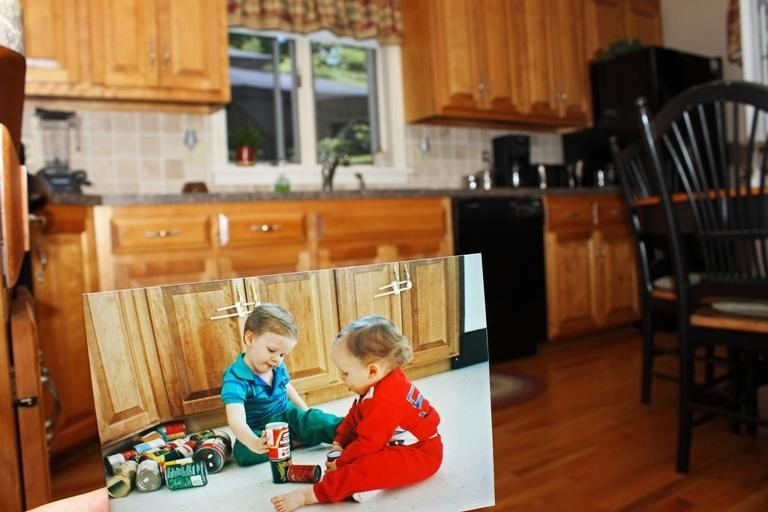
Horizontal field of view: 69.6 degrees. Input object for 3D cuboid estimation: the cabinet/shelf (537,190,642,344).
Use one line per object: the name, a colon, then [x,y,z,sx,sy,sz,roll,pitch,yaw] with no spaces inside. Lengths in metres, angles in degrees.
cabinet/shelf: [0.888,0.043,2.547,0.549,0.602,0.297,-4,2,-24]

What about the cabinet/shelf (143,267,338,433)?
cabinet/shelf: [-0.329,0.214,1.420,0.471,0.384,0.167,-8,0,-3]

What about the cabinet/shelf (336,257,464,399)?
cabinet/shelf: [0.019,0.167,1.515,0.381,0.317,0.141,-6,7,-34]

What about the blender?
blender: [-1.293,-0.401,2.132,0.178,0.299,0.178,-8,13,-26]

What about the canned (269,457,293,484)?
canned: [-0.258,0.523,1.372,0.055,0.056,0.054,-1,5,-11]
